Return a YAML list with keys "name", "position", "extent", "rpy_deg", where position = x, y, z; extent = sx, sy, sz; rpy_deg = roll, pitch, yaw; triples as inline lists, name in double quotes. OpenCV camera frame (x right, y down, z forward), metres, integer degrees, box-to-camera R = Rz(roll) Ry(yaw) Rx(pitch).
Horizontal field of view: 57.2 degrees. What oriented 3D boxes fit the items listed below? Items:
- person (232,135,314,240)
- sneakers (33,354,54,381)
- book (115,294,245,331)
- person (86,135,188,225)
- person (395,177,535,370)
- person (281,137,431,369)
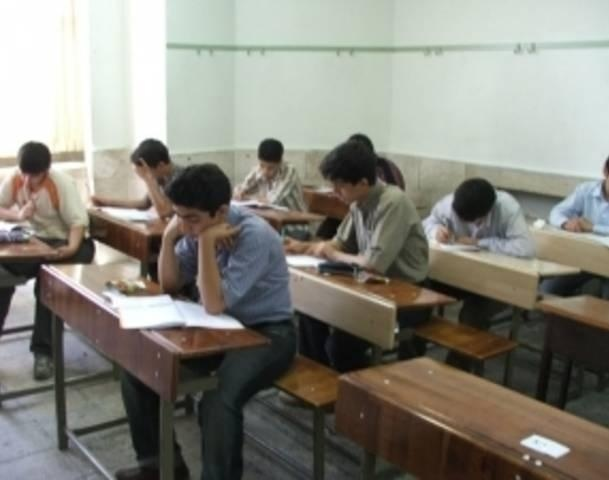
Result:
- name: "person"
  position: [-0.285, -0.379, 4.943]
  extent: [0.612, 0.930, 0.579]
  rpy_deg: [0, 14, 17]
- name: "sneakers"
  position: [-1.643, 0.782, 3.491]
  extent: [0.095, 0.091, 0.206]
  rpy_deg: [0, 17, -37]
- name: "book"
  position: [-0.540, 0.300, 2.334]
  extent: [0.486, 0.057, 0.431]
  rpy_deg: [-3, 12, -19]
- name: "person"
  position: [-1.188, -0.437, 4.003]
  extent: [0.710, 0.587, 0.397]
  rpy_deg: [5, 26, -5]
- name: "person"
  position: [1.120, 0.103, 3.807]
  extent: [0.760, 1.114, 0.649]
  rpy_deg: [12, 31, 29]
- name: "person"
  position: [0.287, 0.111, 3.120]
  extent: [0.829, 1.313, 0.573]
  rpy_deg: [3, 12, 8]
